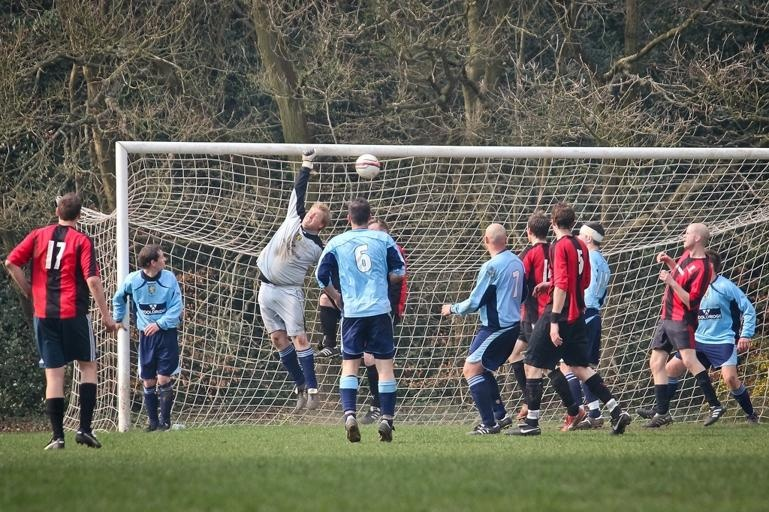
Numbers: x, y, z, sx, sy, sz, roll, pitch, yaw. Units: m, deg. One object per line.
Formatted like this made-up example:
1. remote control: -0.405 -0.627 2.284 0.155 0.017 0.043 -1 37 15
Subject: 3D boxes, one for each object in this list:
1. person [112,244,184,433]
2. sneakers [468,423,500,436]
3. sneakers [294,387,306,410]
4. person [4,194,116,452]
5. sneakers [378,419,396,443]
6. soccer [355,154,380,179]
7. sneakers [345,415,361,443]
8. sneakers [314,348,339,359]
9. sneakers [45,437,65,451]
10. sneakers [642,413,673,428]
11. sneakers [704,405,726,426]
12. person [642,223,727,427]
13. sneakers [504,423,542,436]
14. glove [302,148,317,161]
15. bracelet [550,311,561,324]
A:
1. person: -3.918 1.373 22.223 1.036 3.097 0.603 -2 -2 -10
2. sneakers: 1.615 2.781 21.336 0.551 0.227 0.188 2 -1 2
3. sneakers: -1.409 2.397 22.273 0.150 0.468 0.197 0 -10 17
4. person: -4.925 0.994 20.391 1.450 3.935 0.371 -2 -2 -2
5. sneakers: 0.034 2.696 20.490 0.216 0.354 0.298 -2 -2 0
6. soccer: -0.257 -1.516 22.135 0.407 0.422 0.398 1 12 9
7. sneakers: -0.468 2.637 20.298 0.178 0.496 0.220 -5 15 -1
8. sneakers: -0.964 1.631 22.234 0.415 0.193 0.151 1 -3 -6
9. sneakers: -5.114 2.901 20.410 0.360 0.162 0.132 -4 -7 25
10. sneakers: 4.631 2.743 22.064 0.547 0.258 0.199 -7 7 -4
11. sneakers: 5.587 2.686 22.296 0.266 0.197 0.541 8 -46 -12
12. person: 4.957 1.142 21.776 1.033 3.324 1.192 -2 -2 -1
13. sneakers: 2.233 2.790 21.205 0.577 0.219 0.216 2 -8 6
14. glove: -1.216 -1.690 21.956 0.250 0.236 0.236 -1 -3 -19
15. bracelet: 2.714 0.964 20.776 0.135 0.137 0.128 -3 11 -25
